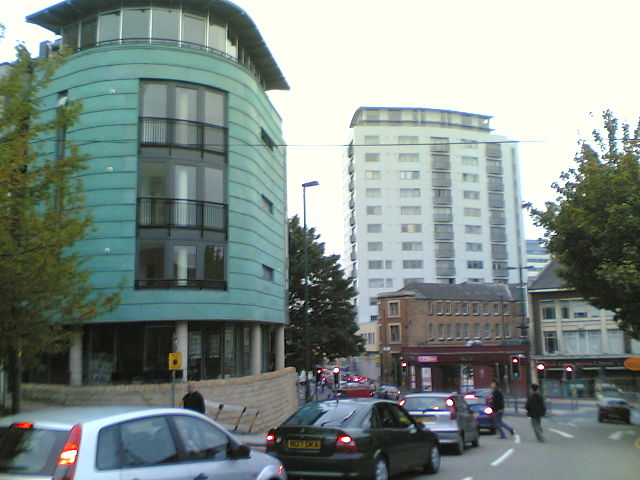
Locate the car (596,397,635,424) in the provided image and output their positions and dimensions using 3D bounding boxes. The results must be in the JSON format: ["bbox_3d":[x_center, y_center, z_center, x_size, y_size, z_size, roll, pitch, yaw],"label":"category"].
[{"bbox_3d":[13.640,7.840,32.725,0.693,1.124,1.703,3,-13,-28],"label":"car"}]

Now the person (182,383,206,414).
[{"bbox_3d":[-3.770,4.697,21.250,0.559,0.847,1.775,-1,-12,-11],"label":"person"}]
